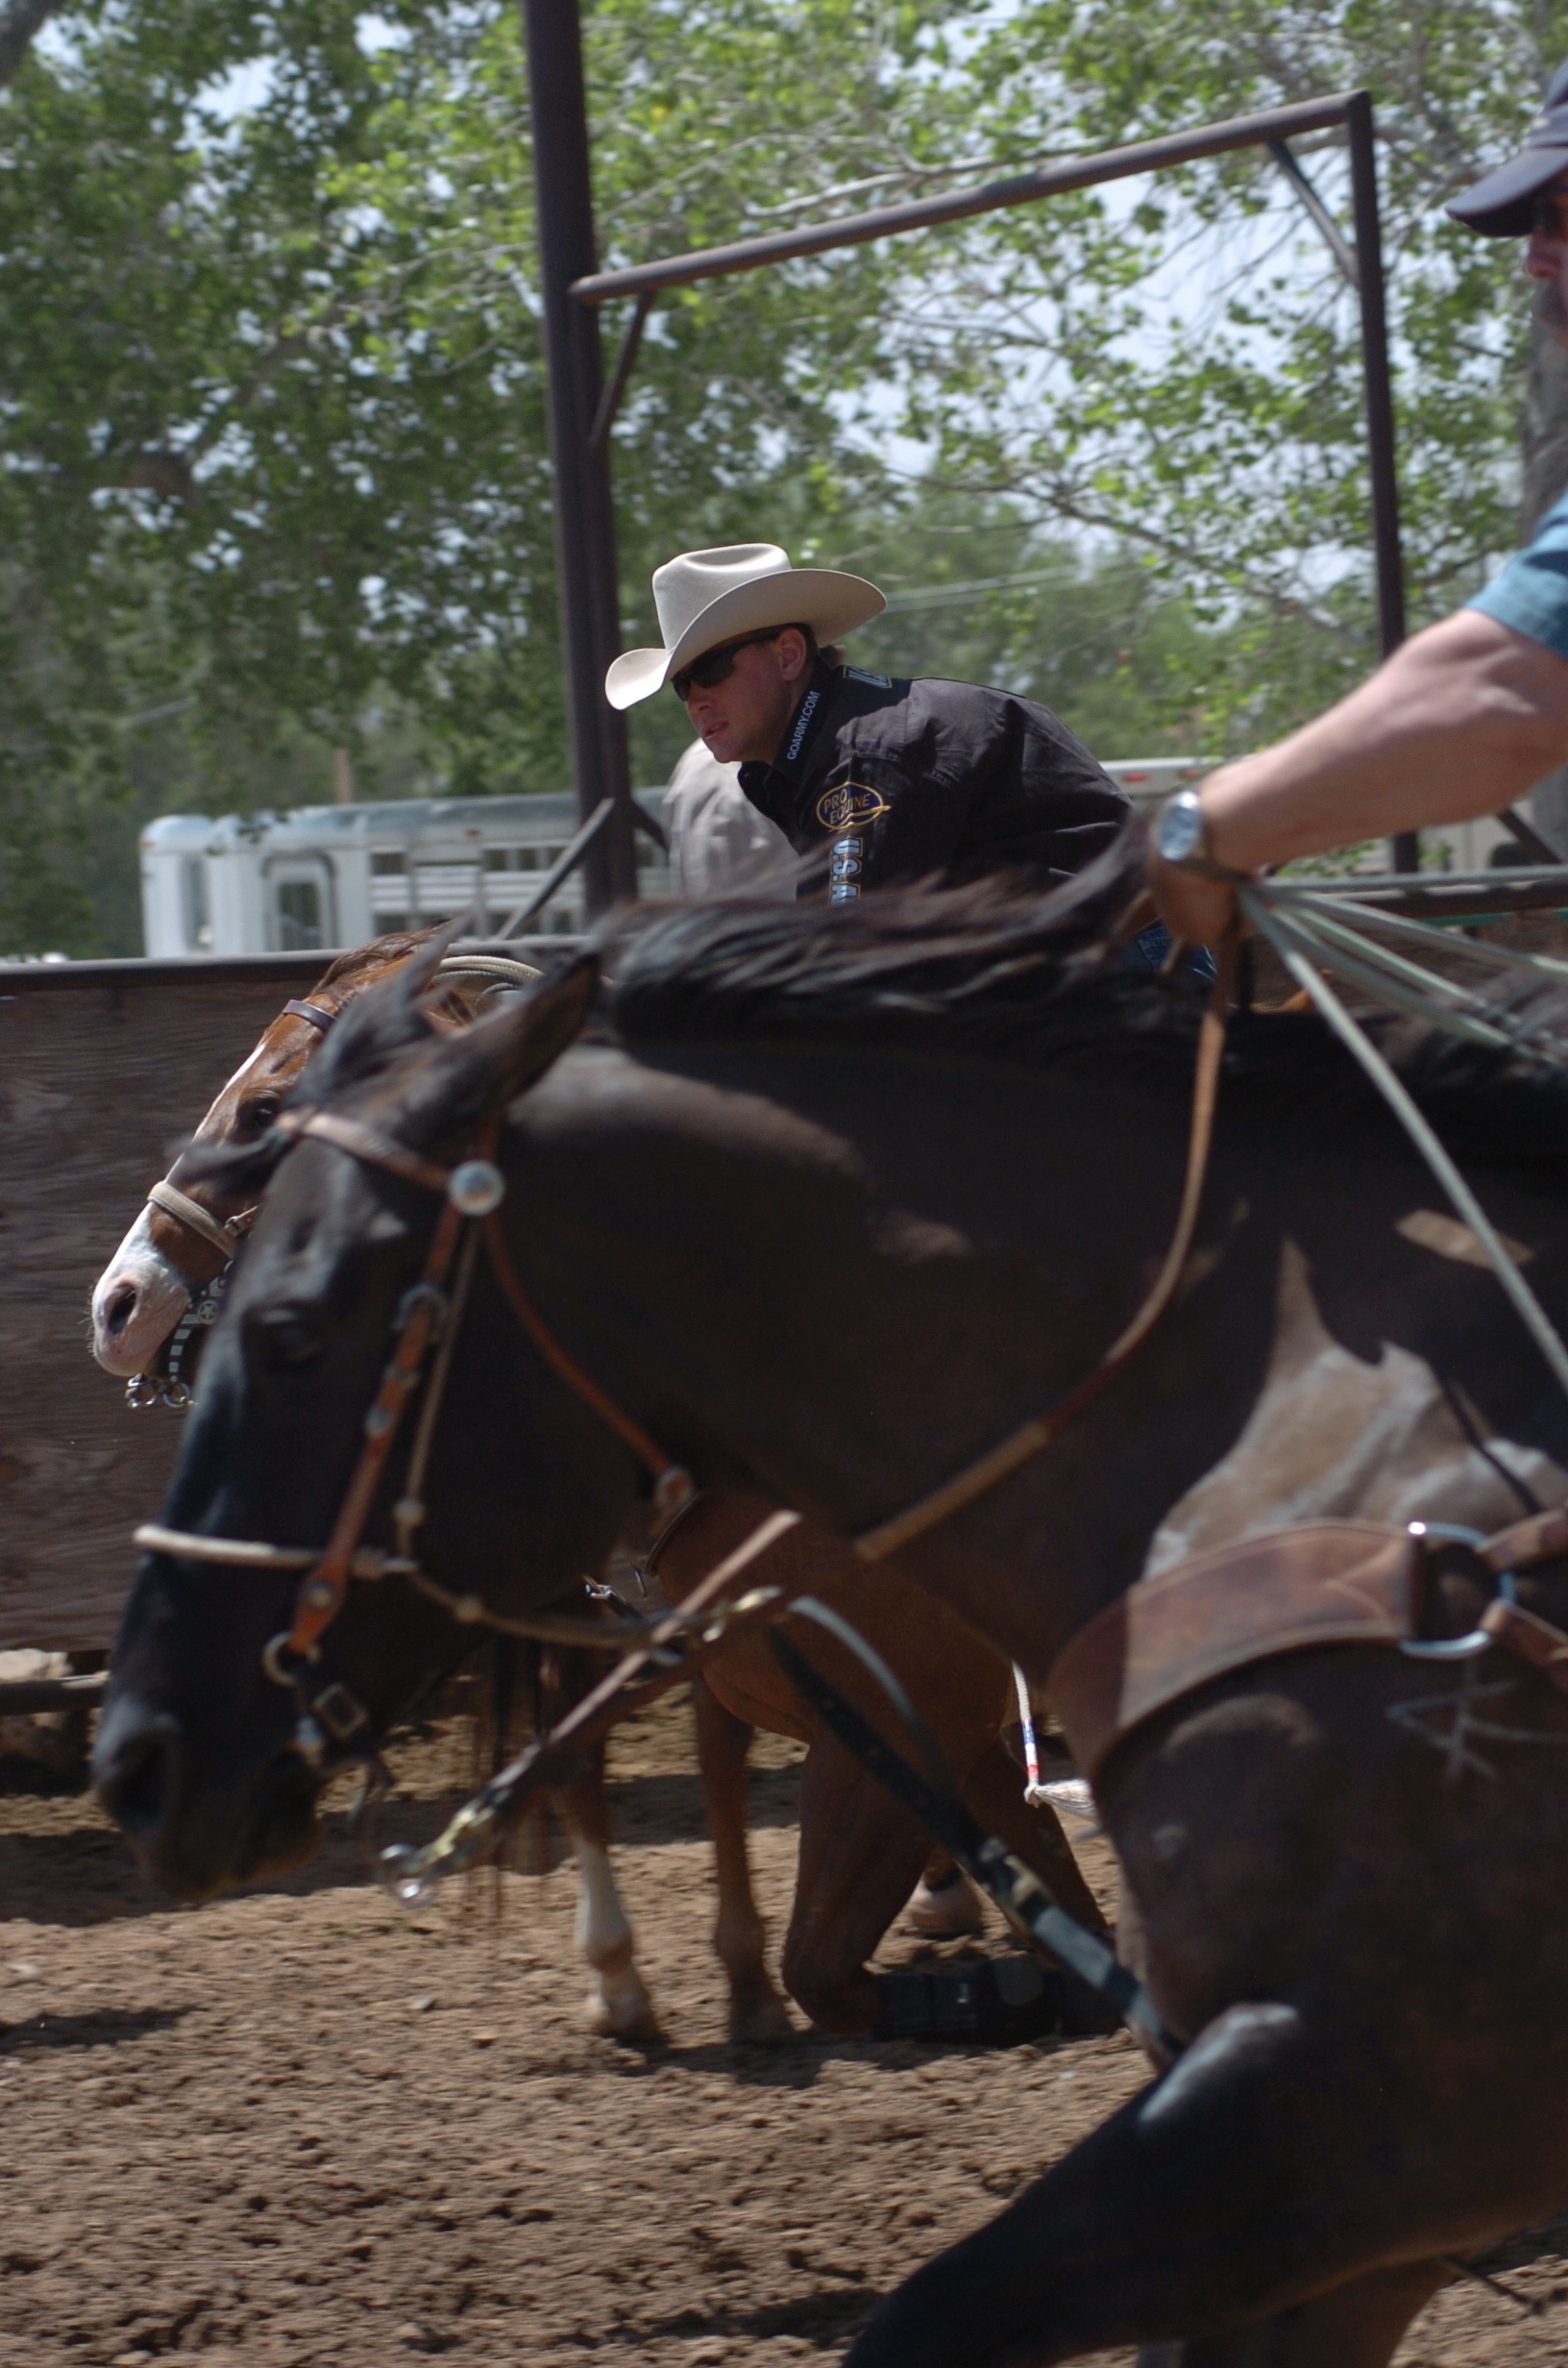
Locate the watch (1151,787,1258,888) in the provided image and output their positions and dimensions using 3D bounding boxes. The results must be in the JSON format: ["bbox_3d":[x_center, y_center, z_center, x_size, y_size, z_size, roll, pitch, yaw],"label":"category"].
[{"bbox_3d":[0.278,-0.239,1.675,0.077,0.039,0.056,17,26,-15],"label":"watch"}]
